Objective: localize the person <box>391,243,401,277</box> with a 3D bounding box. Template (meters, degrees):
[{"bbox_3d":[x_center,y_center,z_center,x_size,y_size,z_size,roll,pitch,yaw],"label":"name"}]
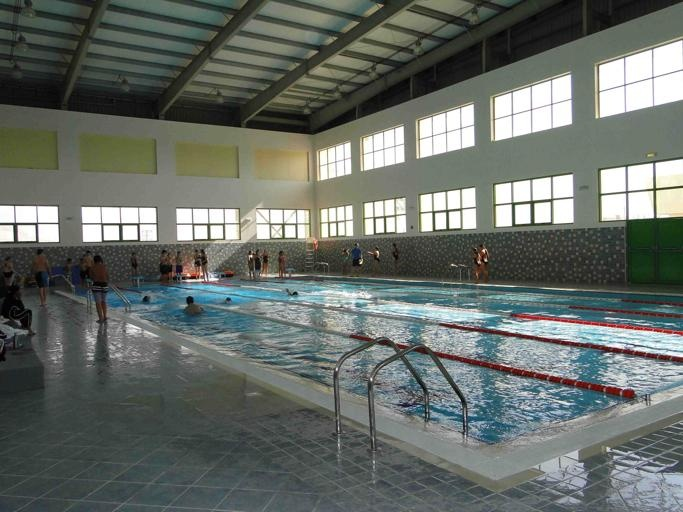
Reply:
[{"bbox_3d":[2.559,0.141,21.451,0.298,1.371,0.579,-3,1,-1],"label":"person"}]

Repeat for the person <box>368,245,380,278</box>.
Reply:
[{"bbox_3d":[1.652,0.213,22.523,0.563,1.333,1.414,-3,1,3],"label":"person"}]

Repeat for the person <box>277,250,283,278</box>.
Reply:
[{"bbox_3d":[-3.114,0.416,23.335,0.270,1.310,1.007,-3,1,-11],"label":"person"}]

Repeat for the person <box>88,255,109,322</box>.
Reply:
[{"bbox_3d":[-5.334,0.705,9.951,0.340,1.547,1.293,-3,1,-29],"label":"person"}]

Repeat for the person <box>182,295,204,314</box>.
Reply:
[{"bbox_3d":[-3.929,1.268,11.988,0.485,0.451,1.208,-3,1,-18],"label":"person"}]

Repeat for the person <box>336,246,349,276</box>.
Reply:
[{"bbox_3d":[0.139,0.209,24.670,0.455,1.364,1.069,-3,1,-10],"label":"person"}]

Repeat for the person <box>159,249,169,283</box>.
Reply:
[{"bbox_3d":[-8.565,0.450,21.924,0.512,1.633,0.935,-3,1,-22],"label":"person"}]

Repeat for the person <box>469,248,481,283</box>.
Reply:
[{"bbox_3d":[5.084,0.310,17.382,0.357,1.248,0.722,-5,1,11],"label":"person"}]

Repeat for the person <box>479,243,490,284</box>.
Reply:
[{"bbox_3d":[5.257,0.223,16.769,0.371,1.464,0.863,0,3,-6],"label":"person"}]

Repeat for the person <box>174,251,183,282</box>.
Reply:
[{"bbox_3d":[-8.216,0.465,22.735,0.454,1.528,0.950,-3,1,-20],"label":"person"}]
